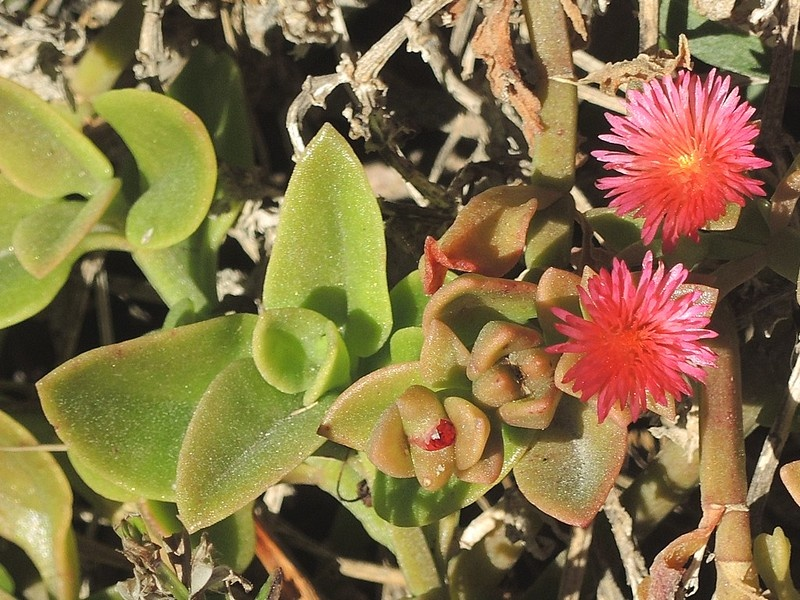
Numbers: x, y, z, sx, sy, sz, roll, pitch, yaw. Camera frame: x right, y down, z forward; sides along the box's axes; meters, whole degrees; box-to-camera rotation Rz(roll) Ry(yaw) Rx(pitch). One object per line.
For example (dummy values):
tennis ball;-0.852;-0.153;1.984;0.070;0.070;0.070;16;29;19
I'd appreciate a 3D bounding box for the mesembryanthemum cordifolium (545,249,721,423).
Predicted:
mesembryanthemum cordifolium;0.261;0.037;1.016;0.197;0.159;0.109;-8;31;-4

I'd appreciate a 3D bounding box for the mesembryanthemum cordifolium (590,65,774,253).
mesembryanthemum cordifolium;0.335;-0.179;1.082;0.196;0.185;0.149;0;32;9
